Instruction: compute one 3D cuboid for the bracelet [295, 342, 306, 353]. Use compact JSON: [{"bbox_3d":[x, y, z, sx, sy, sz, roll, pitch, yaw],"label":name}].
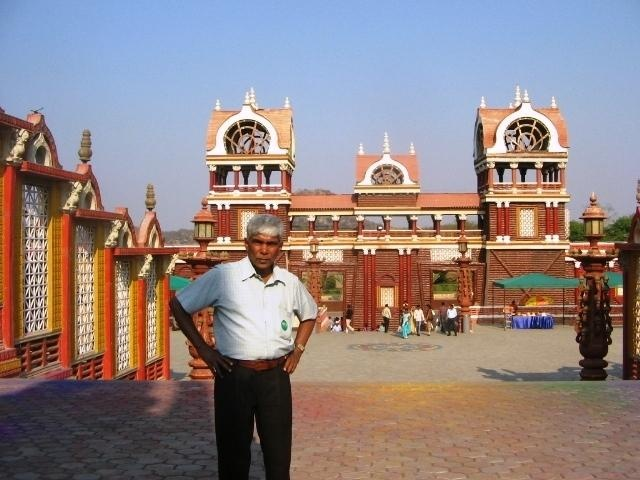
[{"bbox_3d":[-0.219,1.142,8.543,0.116,0.106,0.032,-5,-6,-30],"label":"bracelet"}]
